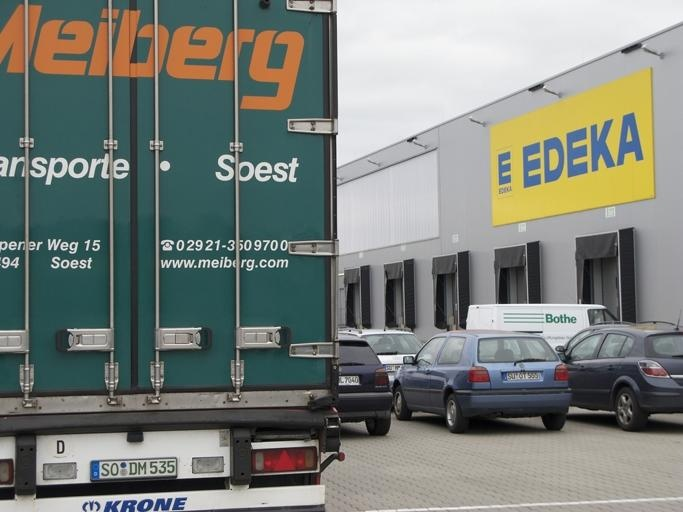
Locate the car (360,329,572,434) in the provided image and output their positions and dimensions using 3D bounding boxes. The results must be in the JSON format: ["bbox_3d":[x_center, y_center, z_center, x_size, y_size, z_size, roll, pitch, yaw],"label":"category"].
[{"bbox_3d":[2.291,2.077,15.866,1.624,1.290,3.074,1,-1,-18],"label":"car"}]

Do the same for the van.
[{"bbox_3d":[6.015,1.938,26.874,3.545,1.899,2.156,-2,0,-13],"label":"van"}]

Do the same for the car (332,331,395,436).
[{"bbox_3d":[-0.141,2.525,16.019,1.503,1.773,3.240,2,-13,-10],"label":"car"}]
